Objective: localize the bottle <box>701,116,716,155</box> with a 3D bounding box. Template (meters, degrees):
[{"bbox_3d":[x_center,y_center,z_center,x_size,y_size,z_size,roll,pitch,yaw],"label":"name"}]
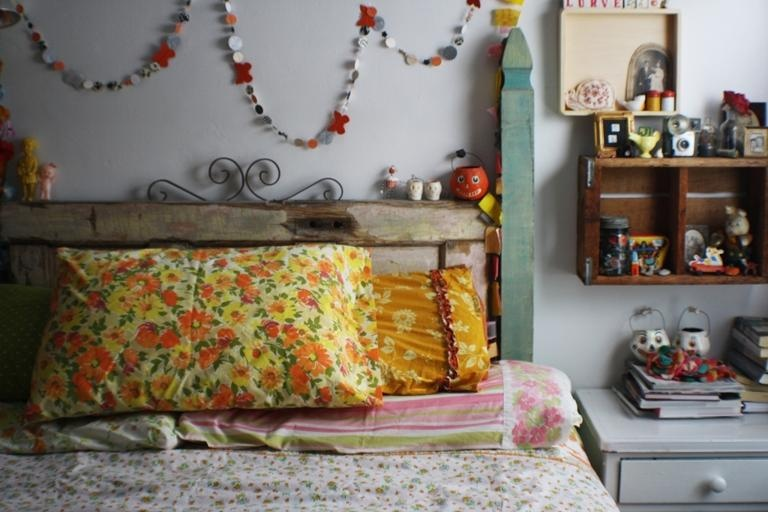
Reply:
[{"bbox_3d":[1.422,-0.528,2.659,0.063,0.168,0.135,5,11,27],"label":"bottle"}]

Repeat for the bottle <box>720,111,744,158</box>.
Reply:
[{"bbox_3d":[1.511,-0.535,2.636,0.097,0.190,0.143,5,12,29],"label":"bottle"}]

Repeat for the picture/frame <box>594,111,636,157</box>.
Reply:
[{"bbox_3d":[0.991,-0.530,2.605,0.201,0.236,0.027,1,4,3],"label":"picture/frame"}]

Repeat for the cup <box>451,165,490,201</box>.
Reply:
[{"bbox_3d":[0.379,-0.328,2.733,0.154,0.123,0.153,1,0,0],"label":"cup"}]

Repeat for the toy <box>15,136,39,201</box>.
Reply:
[{"bbox_3d":[-1.623,-0.402,2.754,0.095,0.286,0.141,-7,12,-30],"label":"toy"}]

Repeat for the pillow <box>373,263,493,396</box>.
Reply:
[{"bbox_3d":[0.190,0.311,2.562,0.483,0.473,0.145,-2,-22,-2],"label":"pillow"}]

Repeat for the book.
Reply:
[{"bbox_3d":[1.309,0.477,2.612,0.489,0.175,0.485,-2,27,7],"label":"book"}]
